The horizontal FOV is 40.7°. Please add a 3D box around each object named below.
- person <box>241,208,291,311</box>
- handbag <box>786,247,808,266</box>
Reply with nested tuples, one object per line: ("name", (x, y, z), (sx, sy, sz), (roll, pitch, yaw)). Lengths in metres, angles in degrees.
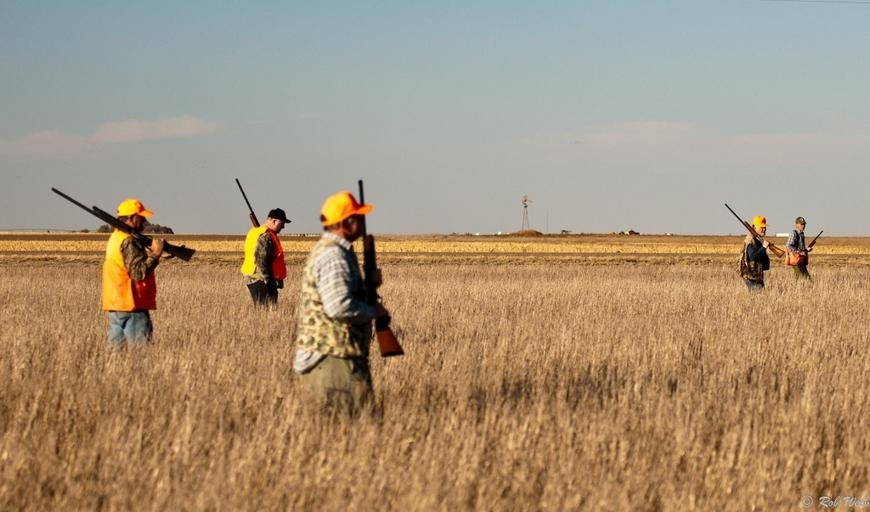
("person", (-3.344, 0.216, 23.321), (0.719, 2.088, 0.978), (0, -1, -24))
("handbag", (8.605, 0.004, 27.969), (0.460, 0.490, 0.350), (-1, 2, 25))
